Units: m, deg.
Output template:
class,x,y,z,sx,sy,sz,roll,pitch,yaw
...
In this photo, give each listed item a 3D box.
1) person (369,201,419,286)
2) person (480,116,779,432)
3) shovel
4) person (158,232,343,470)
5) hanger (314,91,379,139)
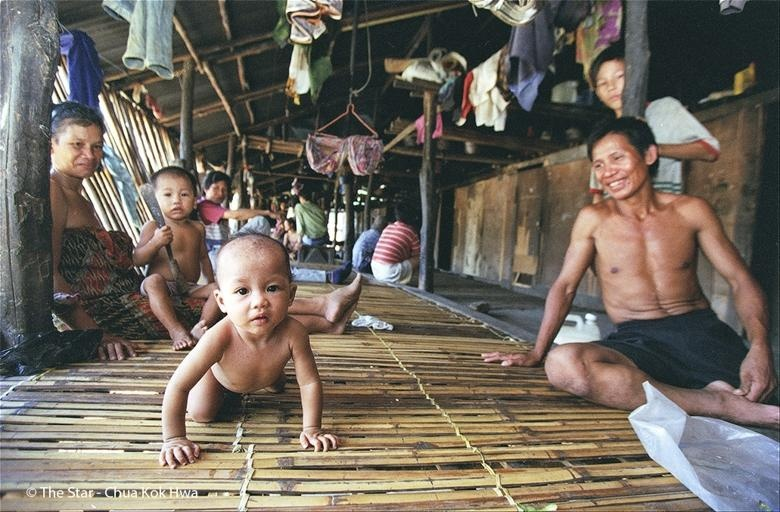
class,x,y,z,sx,sy,sz,roll,pitch,yaw
person,0.096,-0.137,8.047,0.574,1.045,0.546,5,13,0
person,1.614,0.026,4.091,1.551,1.715,0.828,8,14,15
shovel,-1.611,-0.029,4.876,0.124,1.048,0.198,16,37,44
person,-0.847,0.468,3.656,1.125,1.023,1.074,-5,11,-35
hanger,-0.527,-1.876,8.990,0.991,0.601,0.084,8,7,27
